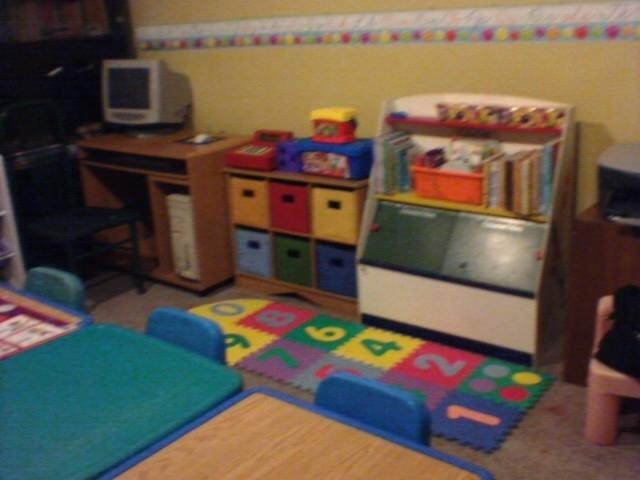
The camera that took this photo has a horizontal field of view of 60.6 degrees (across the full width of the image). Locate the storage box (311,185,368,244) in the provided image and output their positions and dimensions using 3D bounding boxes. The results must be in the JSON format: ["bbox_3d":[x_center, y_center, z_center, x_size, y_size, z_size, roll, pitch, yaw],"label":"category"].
[{"bbox_3d":[0.120,-0.176,3.574,0.429,0.323,0.384,8,12,25],"label":"storage box"}]

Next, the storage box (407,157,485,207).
[{"bbox_3d":[0.699,-0.308,3.044,0.374,0.120,0.227,8,22,24],"label":"storage box"}]

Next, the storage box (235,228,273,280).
[{"bbox_3d":[-0.452,0.090,3.806,0.386,0.290,0.250,8,17,26],"label":"storage box"}]

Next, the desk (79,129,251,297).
[{"bbox_3d":[-1.083,-0.186,3.874,1.308,0.956,0.671,11,21,30],"label":"desk"}]

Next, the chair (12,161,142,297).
[{"bbox_3d":[-1.664,-0.055,3.825,0.721,0.881,0.835,-9,26,-17],"label":"chair"}]

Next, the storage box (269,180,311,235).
[{"bbox_3d":[-0.192,-0.214,3.547,0.361,0.275,0.266,11,22,33],"label":"storage box"}]

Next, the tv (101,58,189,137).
[{"bbox_3d":[-1.278,-1.121,4.260,0.591,0.413,0.625,5,14,16],"label":"tv"}]

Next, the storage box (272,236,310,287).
[{"bbox_3d":[-0.184,0.134,3.649,0.359,0.271,0.244,9,17,32],"label":"storage box"}]

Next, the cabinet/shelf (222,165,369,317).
[{"bbox_3d":[-0.131,-0.002,3.548,1.138,0.681,0.369,8,23,24],"label":"cabinet/shelf"}]

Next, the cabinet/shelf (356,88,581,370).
[{"bbox_3d":[0.833,-0.096,3.073,1.269,1.341,0.770,11,28,23],"label":"cabinet/shelf"}]

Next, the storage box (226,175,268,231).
[{"bbox_3d":[-0.494,-0.265,3.711,0.393,0.294,0.259,8,20,26],"label":"storage box"}]
